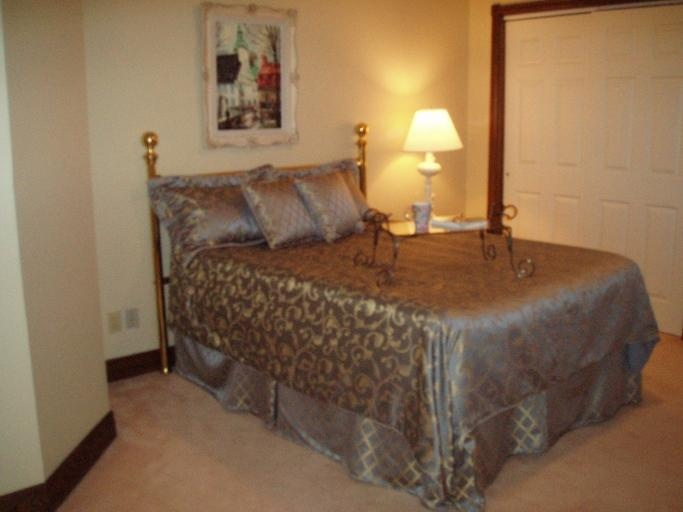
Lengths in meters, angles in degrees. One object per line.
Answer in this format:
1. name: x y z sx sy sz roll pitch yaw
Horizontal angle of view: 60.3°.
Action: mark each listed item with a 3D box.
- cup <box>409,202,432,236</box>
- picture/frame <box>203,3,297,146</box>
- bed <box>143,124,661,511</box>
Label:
1. cup: 0.583 -0.284 4.309 0.192 0.255 0.198 -1 3 0
2. picture/frame: -0.691 -1.343 4.236 0.882 1.134 0.078 -11 19 -38
3. bed: 0.251 0.261 3.483 2.834 1.347 1.526 8 18 32
